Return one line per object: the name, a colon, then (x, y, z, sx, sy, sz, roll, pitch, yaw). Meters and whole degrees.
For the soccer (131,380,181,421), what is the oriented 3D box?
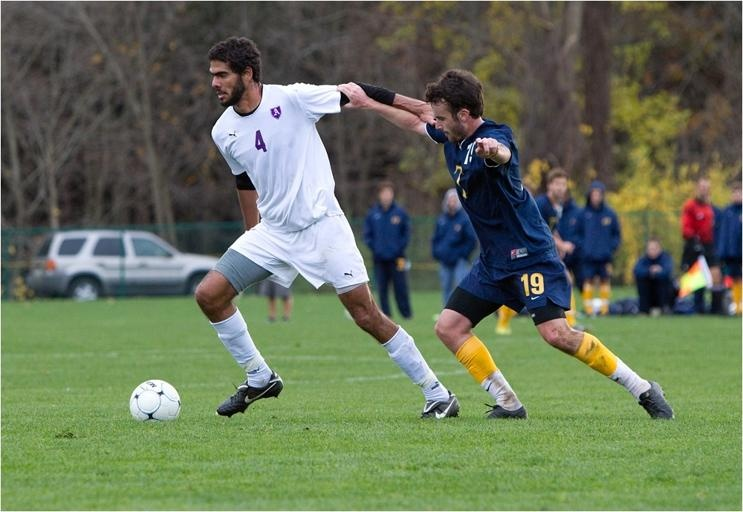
soccer: (-2.295, 1.499, 10.902, 0.436, 0.447, 0.432, -14, -24, -27)

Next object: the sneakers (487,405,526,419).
sneakers: (1.427, 1.626, 10.968, 0.424, 0.188, 0.159, 1, 1, 4)
